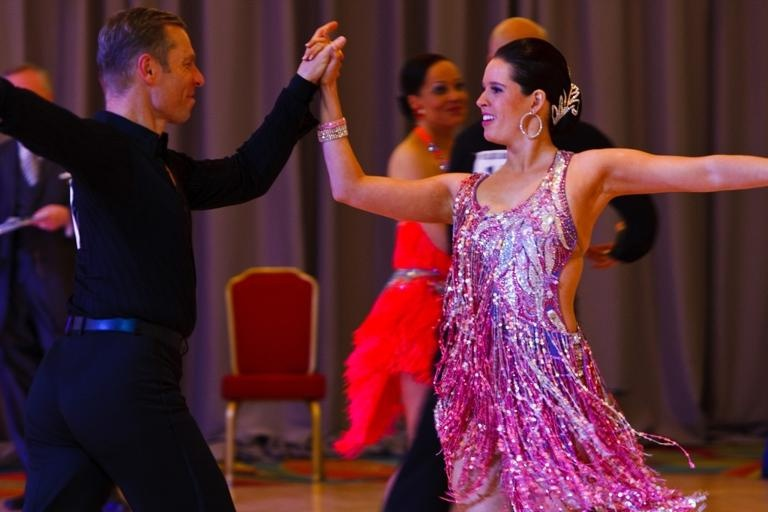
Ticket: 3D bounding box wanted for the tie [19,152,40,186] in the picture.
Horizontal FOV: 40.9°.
[{"bbox_3d":[-1.865,-0.467,5.443,0.152,0.151,0.031,-32,3,33],"label":"tie"}]
